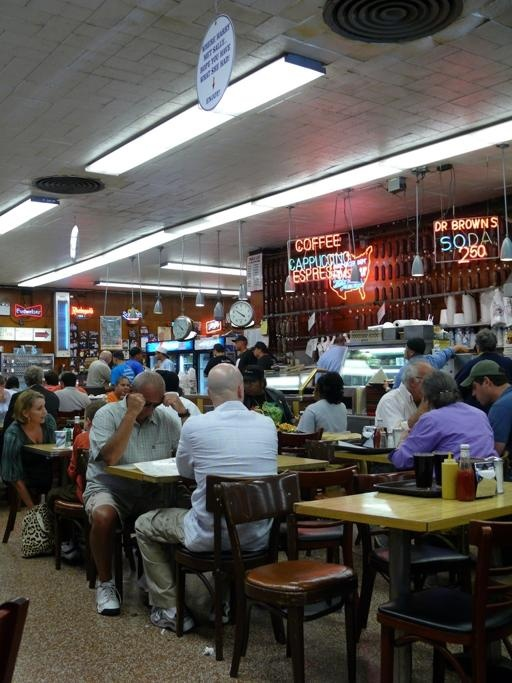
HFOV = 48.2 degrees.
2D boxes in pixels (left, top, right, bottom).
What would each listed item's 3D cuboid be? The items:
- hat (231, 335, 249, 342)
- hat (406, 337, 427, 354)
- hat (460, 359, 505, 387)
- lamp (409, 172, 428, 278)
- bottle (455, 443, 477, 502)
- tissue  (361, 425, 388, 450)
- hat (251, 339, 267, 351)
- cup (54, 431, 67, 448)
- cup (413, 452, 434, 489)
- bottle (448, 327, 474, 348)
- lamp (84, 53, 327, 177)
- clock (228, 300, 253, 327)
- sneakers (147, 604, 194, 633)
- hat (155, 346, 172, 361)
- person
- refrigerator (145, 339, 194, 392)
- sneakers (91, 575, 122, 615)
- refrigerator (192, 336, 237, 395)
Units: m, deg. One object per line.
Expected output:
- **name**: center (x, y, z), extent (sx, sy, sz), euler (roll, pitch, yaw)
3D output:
- **hat**: center (-0.307, -0.057, 9.837), extent (0.204, 0.098, 0.139), euler (14, -3, 7)
- **hat**: center (1.683, 0.053, 6.038), extent (0.151, 0.161, 0.190), euler (-2, -5, -39)
- **hat**: center (1.433, 0.201, 3.617), extent (0.257, 0.138, 0.162), euler (-8, -5, 30)
- **lamp**: center (2.280, -1.703, 8.115), extent (0.289, 1.466, 0.278), euler (2, 11, 25)
- **bottle**: center (0.817, 0.516, 2.246), extent (0.080, 0.212, 0.085), euler (-2, -7, 0)
- **tissue **: center (0.886, 0.701, 4.291), extent (0.162, 0.270, 0.164), euler (-2, 5, 11)
- **hat**: center (0.034, 0.062, 9.657), extent (0.220, 0.112, 0.153), euler (15, 5, 22)
- **cup**: center (-1.761, 0.884, 5.209), extent (0.115, 0.134, 0.141), euler (3, -8, -19)
- **cup**: center (0.711, 0.548, 2.421), extent (0.077, 0.139, 0.058), euler (-3, -7, 7)
- **bottle**: center (3.096, -0.056, 8.653), extent (0.314, 0.504, 0.299), euler (0, 3, 0)
- **lamp**: center (-0.650, -2.267, 5.960), extent (0.512, 0.288, 3.312), euler (4, -9, -43)
- **clock**: center (-0.321, -0.594, 12.287), extent (0.507, 0.586, 0.747), euler (-2, -7, 0)
- **sneakers**: center (-0.488, 1.544, 3.233), extent (0.216, 0.082, 0.141), euler (-6, -10, 44)
- **hat**: center (-1.999, 0.262, 12.236), extent (0.264, 0.287, 0.367), euler (5, -2, -40)
- **person**: center (0.065, 0.846, 3.032), extent (2.579, 1.463, 1.015), euler (-7, -8, 37)
- **refrigerator**: center (-2.043, 0.579, 13.900), extent (1.247, 1.077, 0.417), euler (-2, -14, 16)
- **sneakers**: center (-0.906, 1.585, 3.524), extent (0.101, 0.110, 0.262), euler (1, -3, -19)
- **refrigerator**: center (-0.947, 0.584, 13.261), extent (0.874, 1.389, 0.782), euler (-2, -3, 3)
